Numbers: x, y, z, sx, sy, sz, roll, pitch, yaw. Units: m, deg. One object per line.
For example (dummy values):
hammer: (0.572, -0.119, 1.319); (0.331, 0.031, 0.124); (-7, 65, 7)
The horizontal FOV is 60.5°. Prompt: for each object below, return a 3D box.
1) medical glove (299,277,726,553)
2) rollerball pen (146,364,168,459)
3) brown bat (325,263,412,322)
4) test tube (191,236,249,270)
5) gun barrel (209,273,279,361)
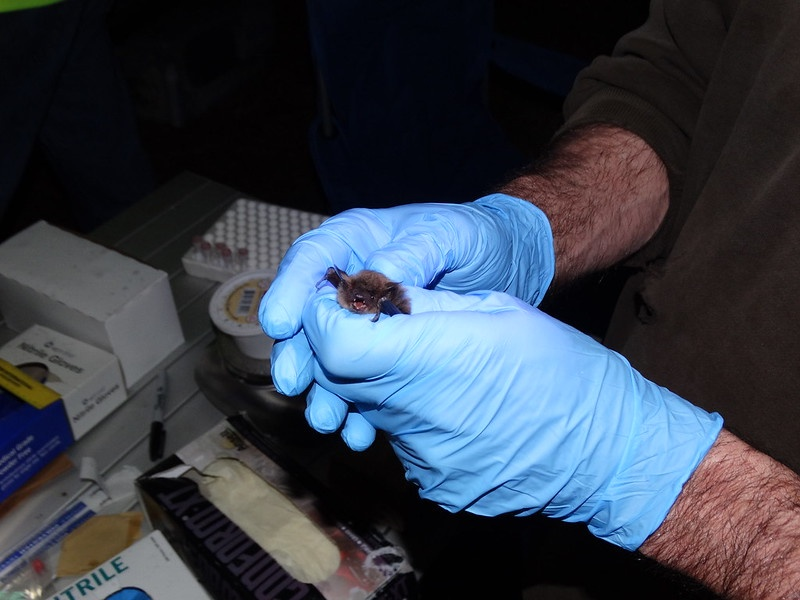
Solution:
medical glove: (0.261, 0.267, 1.734); (1.022, 0.445, 0.422); (19, 44, 16)
rollerball pen: (-0.748, 0.351, 2.131); (0.054, 0.036, 0.250); (12, 50, -17)
brown bat: (-0.054, -0.038, 1.739); (0.169, 0.121, 0.231); (-16, 36, -31)
test tube: (-0.670, -0.190, 2.543); (0.228, 0.072, 0.107); (18, 45, 14)
gun barrel: (-0.517, 0.030, 2.225); (0.234, 0.293, 0.274); (-10, 33, -18)
